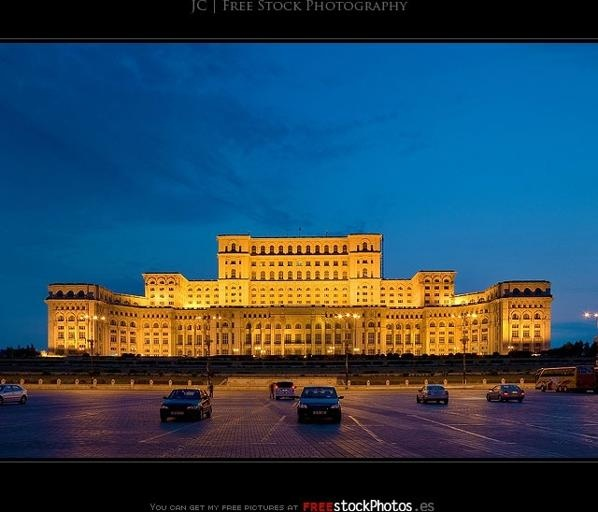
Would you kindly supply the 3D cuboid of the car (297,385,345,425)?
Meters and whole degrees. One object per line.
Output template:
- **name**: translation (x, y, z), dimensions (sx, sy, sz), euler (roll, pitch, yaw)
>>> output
- **car**: translation (0.725, 5.028, 29.847), dimensions (1.778, 1.413, 3.378), euler (0, -16, -1)

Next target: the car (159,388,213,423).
- **car**: translation (-3.941, 5.229, 31.520), dimensions (1.424, 1.166, 3.366), euler (-1, -6, 2)
